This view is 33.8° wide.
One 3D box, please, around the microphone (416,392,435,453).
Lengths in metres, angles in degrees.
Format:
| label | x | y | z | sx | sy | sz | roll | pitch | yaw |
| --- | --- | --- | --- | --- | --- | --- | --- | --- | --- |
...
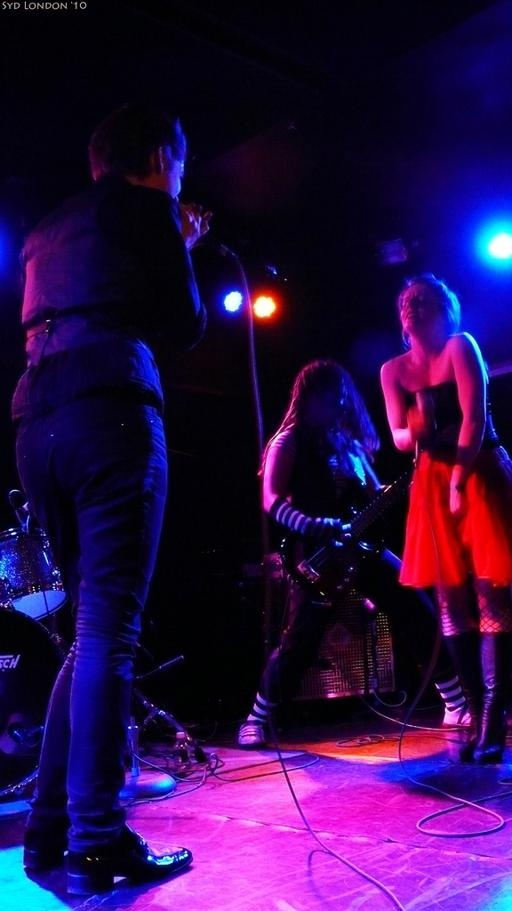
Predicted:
| label | x | y | z | sx | sy | sz | roll | pitch | yaw |
| --- | --- | --- | --- | --- | --- | --- | --- | --- | --- |
| microphone | 0.578 | -0.121 | 2.864 | 0.041 | 0.154 | 0.113 | 0 | -6 | 1 |

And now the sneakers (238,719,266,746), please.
| label | x | y | z | sx | sy | sz | roll | pitch | yaw |
| --- | --- | --- | --- | --- | --- | --- | --- | --- | --- |
| sneakers | -0.019 | 1.117 | 3.401 | 0.112 | 0.103 | 0.224 | -4 | -8 | 0 |

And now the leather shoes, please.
| label | x | y | z | sx | sy | sz | roll | pitch | yaw |
| --- | --- | --- | --- | --- | --- | --- | --- | --- | --- |
| leather shoes | -0.271 | 0.826 | 1.714 | 0.212 | 0.085 | 0.208 | 13 | -28 | -37 |

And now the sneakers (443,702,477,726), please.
| label | x | y | z | sx | sy | sz | roll | pitch | yaw |
| --- | --- | --- | --- | --- | --- | --- | --- | --- | --- |
| sneakers | 0.733 | 0.938 | 3.048 | 0.071 | 0.069 | 0.163 | 2 | -26 | -7 |

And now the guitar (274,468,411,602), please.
| label | x | y | z | sx | sy | sz | roll | pitch | yaw |
| --- | --- | --- | --- | --- | --- | --- | --- | --- | --- |
| guitar | 0.257 | 0.245 | 3.151 | 0.447 | 0.156 | 1.209 | 2 | -29 | 0 |

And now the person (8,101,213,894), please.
| label | x | y | z | sx | sy | sz | roll | pitch | yaw |
| --- | --- | --- | --- | --- | --- | --- | --- | --- | --- |
| person | -0.331 | 0.006 | 1.881 | 0.462 | 1.757 | 0.380 | -3 | -7 | -4 |
